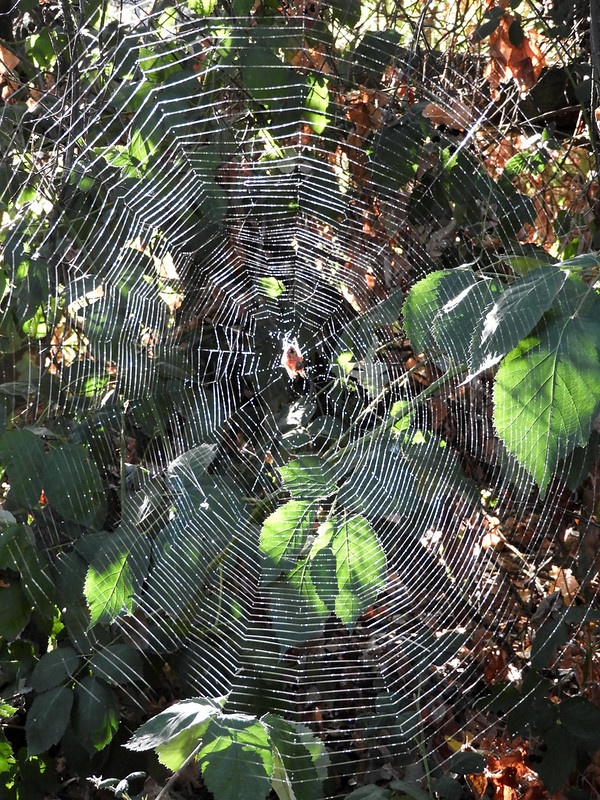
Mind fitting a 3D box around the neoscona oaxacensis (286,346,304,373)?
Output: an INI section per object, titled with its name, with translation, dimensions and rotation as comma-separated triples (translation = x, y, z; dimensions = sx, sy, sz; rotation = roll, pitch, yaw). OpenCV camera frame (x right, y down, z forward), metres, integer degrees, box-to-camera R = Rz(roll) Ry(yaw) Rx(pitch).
[neoscona oaxacensis]
translation = -0.029, -0.146, 2.704
dimensions = 0.018, 0.081, 0.075
rotation = -23, 0, 43
